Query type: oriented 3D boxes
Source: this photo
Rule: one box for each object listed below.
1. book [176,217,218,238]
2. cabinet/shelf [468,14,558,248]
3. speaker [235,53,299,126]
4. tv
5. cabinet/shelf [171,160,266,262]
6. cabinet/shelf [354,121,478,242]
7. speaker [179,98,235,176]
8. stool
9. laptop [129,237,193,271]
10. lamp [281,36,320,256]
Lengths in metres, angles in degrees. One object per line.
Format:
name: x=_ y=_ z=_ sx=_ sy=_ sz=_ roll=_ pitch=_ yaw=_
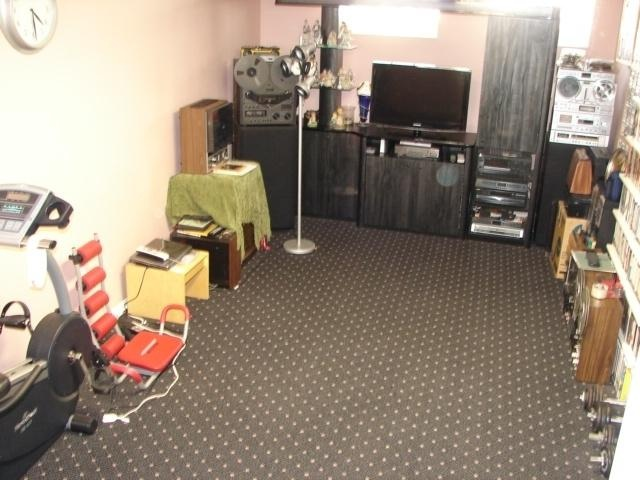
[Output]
book: x=-1.280 y=-0.132 z=5.230 sx=0.461 sy=0.151 sz=0.227 roll=4 pitch=18 yaw=6
cabinet/shelf: x=2.386 y=-1.045 z=6.268 sx=1.026 sy=3.038 sz=1.085 roll=16 pitch=-14 yaw=-15
speaker: x=-0.627 y=-1.761 z=6.081 sx=0.774 sy=0.926 sz=0.505 roll=2 pitch=-13 yaw=-1
tv: x=1.256 y=-1.714 z=6.298 sx=0.979 sy=0.762 sz=0.110 roll=8 pitch=23 yaw=10
cabinet/shelf: x=-1.060 y=-0.397 z=5.715 sx=1.078 sy=0.930 sz=0.980 roll=5 pitch=25 yaw=10
cabinet/shelf: x=1.275 y=-0.770 z=6.391 sx=1.195 sy=1.204 sz=0.523 roll=4 pitch=20 yaw=13
speaker: x=-1.273 y=-1.179 z=5.670 sx=0.409 sy=0.768 sz=0.840 roll=4 pitch=18 yaw=12
stool: x=-1.461 y=0.418 z=4.941 sx=0.649 sy=0.581 sz=0.719 roll=9 pitch=25 yaw=9
laptop: x=-1.523 y=0.138 z=4.794 sx=0.302 sy=0.097 sz=0.351 roll=11 pitch=30 yaw=10
lamp: x=-0.240 y=-1.152 z=6.027 sx=0.401 sy=2.462 sz=0.882 roll=0 pitch=16 yaw=-3
